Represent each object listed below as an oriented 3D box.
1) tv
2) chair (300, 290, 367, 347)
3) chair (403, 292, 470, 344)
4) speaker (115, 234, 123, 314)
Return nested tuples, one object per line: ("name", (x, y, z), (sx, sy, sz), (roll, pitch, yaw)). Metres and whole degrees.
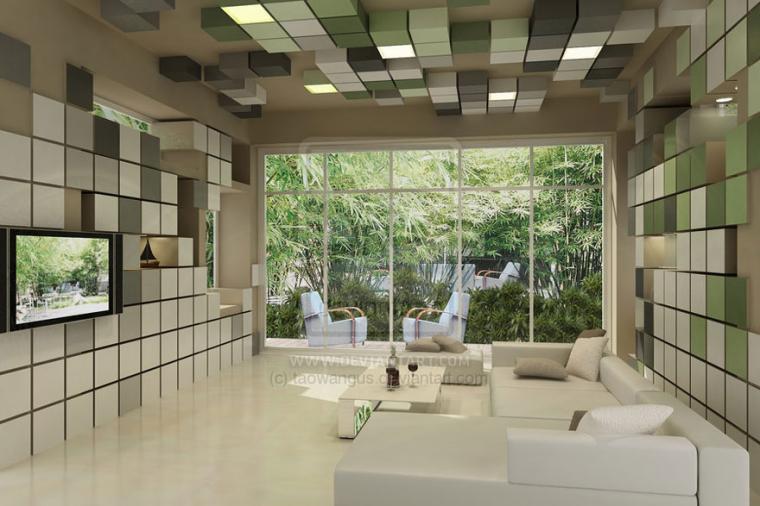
("tv", (-3.458, 0.279, 5.703), (0.053, 0.882, 1.220), (1, 0, 22))
("chair", (-0.940, 1.255, 9.912), (1.086, 0.912, 0.810), (3, -7, -16))
("chair", (0.963, 1.199, 9.577), (1.192, 1.099, 0.885), (5, -6, 2))
("speaker", (-3.138, 0.245, 6.396), (0.050, 0.945, 0.133), (0, -1, 4))
